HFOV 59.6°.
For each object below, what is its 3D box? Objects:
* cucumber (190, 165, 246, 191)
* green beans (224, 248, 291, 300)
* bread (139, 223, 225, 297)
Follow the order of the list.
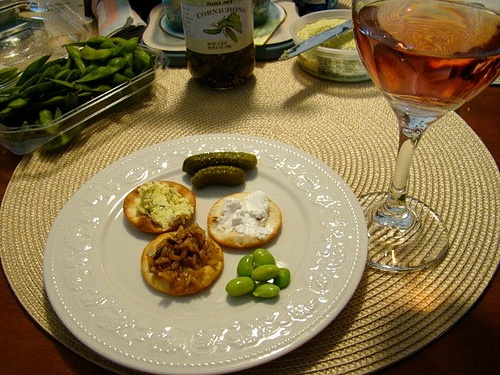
[{"bbox_3d":[-0.084,-0.028,1.181,0.138,0.057,0.064,0,43,2],"label":"cucumber"},{"bbox_3d":[0.022,0.171,0.971,0.100,0.043,0.108,-1,27,10],"label":"green beans"},{"bbox_3d":[-0.157,0.157,1.045,0.204,0.072,0.211,-15,37,-13],"label":"bread"}]
